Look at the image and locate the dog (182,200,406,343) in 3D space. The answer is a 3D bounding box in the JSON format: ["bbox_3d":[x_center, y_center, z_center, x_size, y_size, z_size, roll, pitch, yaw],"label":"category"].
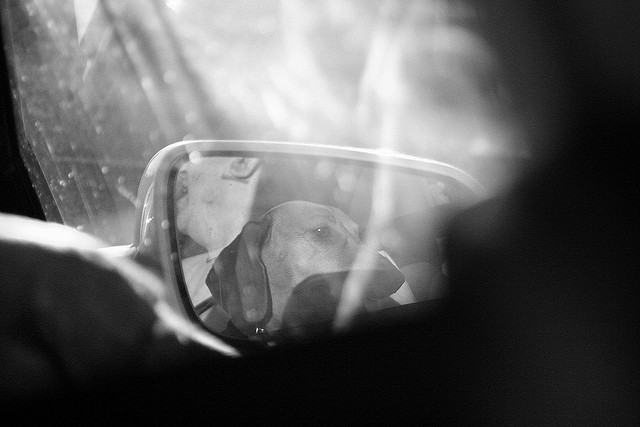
[{"bbox_3d":[-0.152,0.185,2.344,0.911,0.489,0.459,2,94,37],"label":"dog"}]
